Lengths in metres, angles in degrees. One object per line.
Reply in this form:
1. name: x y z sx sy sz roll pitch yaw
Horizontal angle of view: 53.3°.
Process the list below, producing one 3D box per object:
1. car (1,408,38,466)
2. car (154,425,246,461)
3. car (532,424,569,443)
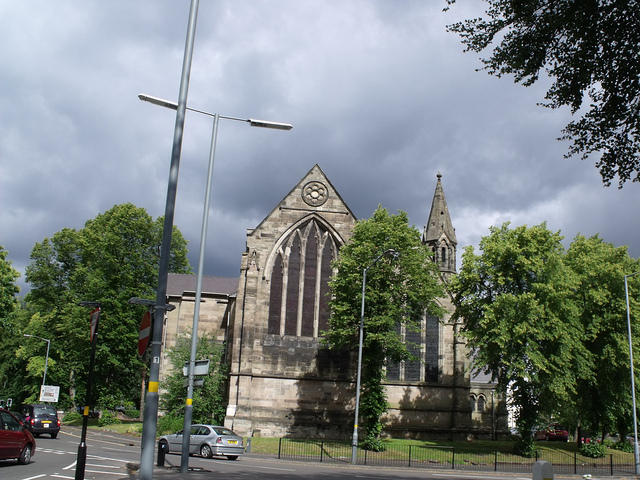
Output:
1. car: -13.722 8.918 28.692 0.637 2.287 2.050 -8 -23 31
2. car: -6.379 10.930 34.540 4.441 1.685 2.969 9 -20 -14
3. car: 21.868 18.140 60.034 2.563 1.896 5.820 -2 -21 17
